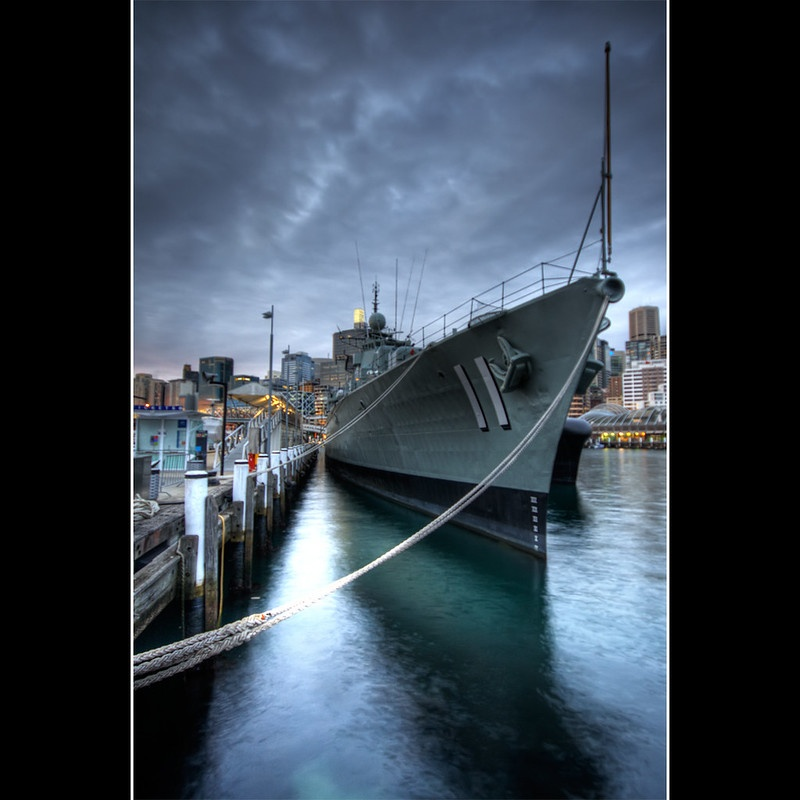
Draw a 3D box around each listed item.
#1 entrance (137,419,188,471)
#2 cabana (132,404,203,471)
[{"bbox_3d":[-6.411,1.122,16.364,1.327,1.377,2.598,2,0,-21],"label":"entrance"},{"bbox_3d":[-6.754,1.204,17.308,1.846,2.303,1.843,2,10,-24],"label":"cabana"}]
